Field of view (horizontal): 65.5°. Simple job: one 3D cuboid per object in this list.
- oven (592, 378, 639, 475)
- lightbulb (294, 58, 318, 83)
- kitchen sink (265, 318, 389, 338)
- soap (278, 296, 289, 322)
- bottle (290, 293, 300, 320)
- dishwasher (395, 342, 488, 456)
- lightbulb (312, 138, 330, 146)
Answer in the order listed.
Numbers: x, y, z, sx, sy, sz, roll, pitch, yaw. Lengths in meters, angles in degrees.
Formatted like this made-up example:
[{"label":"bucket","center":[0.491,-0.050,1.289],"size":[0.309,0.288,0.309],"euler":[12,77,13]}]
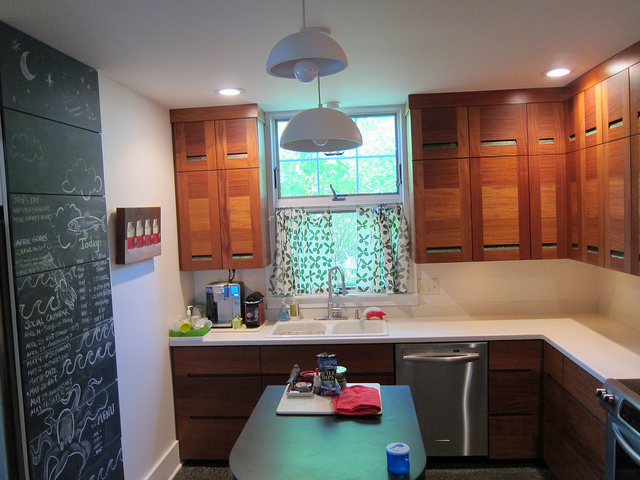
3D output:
[{"label":"oven","center":[1.746,1.137,2.941],"size":[0.216,0.568,0.383],"euler":[1,12,29]},{"label":"lightbulb","center":[-0.068,-0.807,2.372],"size":[0.100,0.140,0.104],"euler":[9,-41,-12]},{"label":"kitchen sink","center":[0.058,0.745,4.423],"size":[0.993,0.143,0.683],"euler":[2,5,1]},{"label":"soap","center":[-0.337,0.633,4.548],"size":[0.089,0.181,0.160],"euler":[-5,11,-4]},{"label":"bottle","center":[-0.240,0.608,4.583],"size":[0.083,0.229,0.148],"euler":[-4,11,3]},{"label":"dishwasher","center":[0.968,1.259,3.915],"size":[0.719,0.917,0.170],"euler":[-3,11,7]},{"label":"lightbulb","center":[0.006,-0.571,2.907],"size":[0.099,0.039,0.039],"euler":[-9,12,-19]}]
